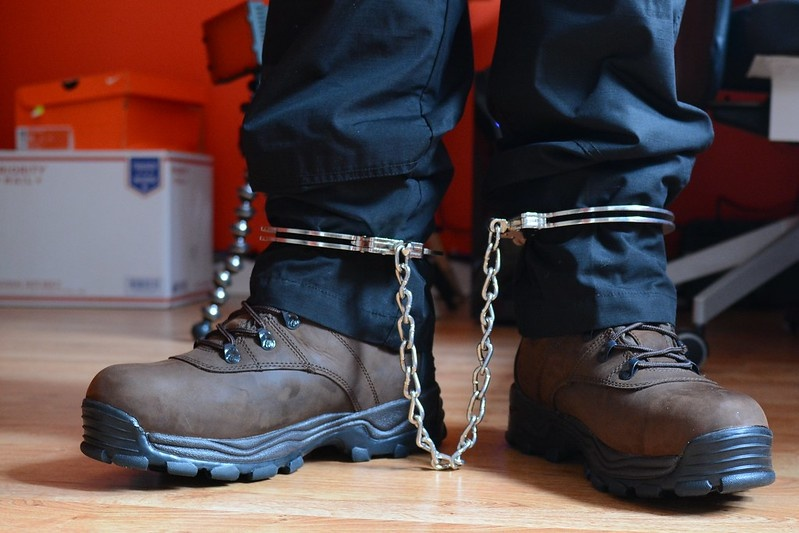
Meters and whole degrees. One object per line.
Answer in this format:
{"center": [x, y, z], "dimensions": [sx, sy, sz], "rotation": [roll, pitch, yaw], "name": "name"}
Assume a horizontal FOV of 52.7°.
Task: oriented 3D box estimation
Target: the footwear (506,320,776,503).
{"center": [0.329, 0.209, 1.207], "dimensions": [0.171, 0.227, 0.403], "rotation": [3, -3, -33], "name": "footwear"}

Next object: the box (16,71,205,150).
{"center": [-0.474, -0.245, 1.301], "dimensions": [0.168, 0.076, 0.224], "rotation": [1, 3, 18], "name": "box"}

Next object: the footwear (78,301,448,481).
{"center": [-0.194, 0.167, 1.251], "dimensions": [0.237, 0.284, 0.607], "rotation": [-2, -5, 43], "name": "footwear"}
